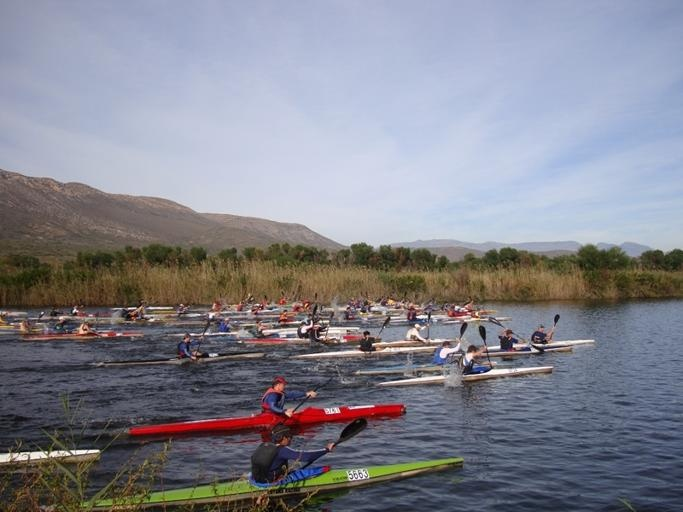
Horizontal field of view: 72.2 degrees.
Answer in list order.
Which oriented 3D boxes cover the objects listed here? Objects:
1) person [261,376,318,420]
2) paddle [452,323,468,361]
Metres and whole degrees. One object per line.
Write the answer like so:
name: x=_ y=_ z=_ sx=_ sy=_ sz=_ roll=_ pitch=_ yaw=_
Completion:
person: x=-1.674 y=4.703 z=15.433 sx=1.165 sy=0.936 sz=1.831 roll=0 pitch=-44 yaw=0
paddle: x=6.328 y=4.501 z=24.497 sx=0.379 sy=2.355 sz=0.272 roll=14 pitch=22 yaw=9
